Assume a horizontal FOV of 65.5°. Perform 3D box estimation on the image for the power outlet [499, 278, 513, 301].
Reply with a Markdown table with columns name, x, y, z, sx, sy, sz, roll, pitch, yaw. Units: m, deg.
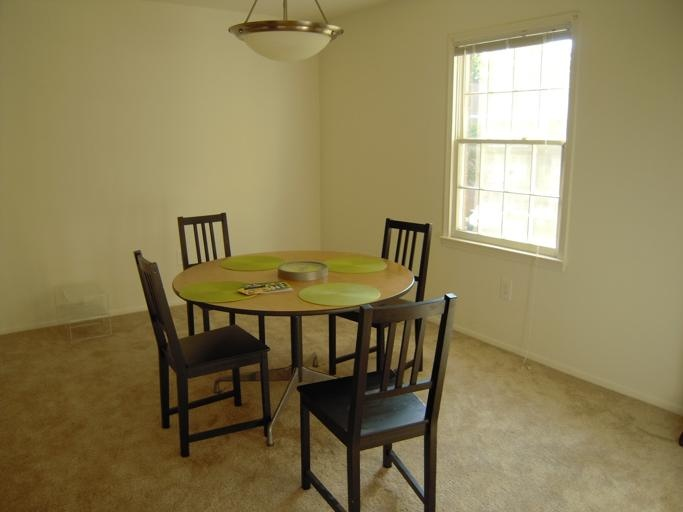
| name | x | y | z | sx | sy | sz | roll | pitch | yaw |
| --- | --- | --- | --- | --- | --- | --- | --- | --- | --- |
| power outlet | 1.084 | 0.217 | 3.477 | 0.013 | 0.149 | 0.098 | -9 | 21 | -29 |
